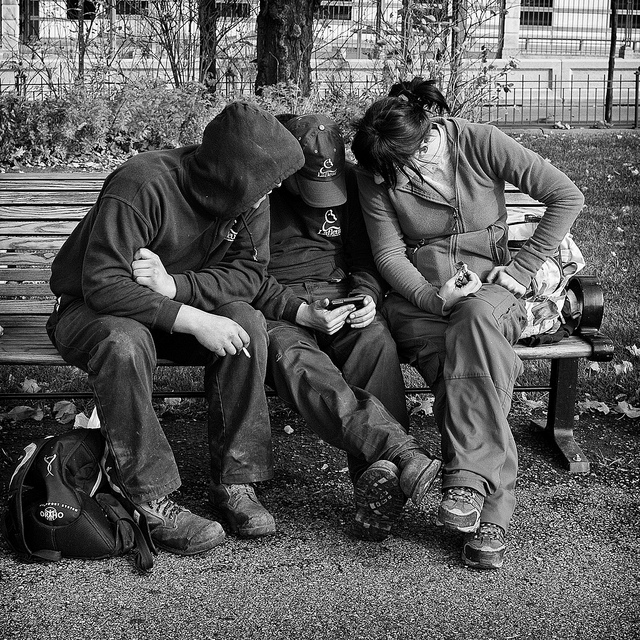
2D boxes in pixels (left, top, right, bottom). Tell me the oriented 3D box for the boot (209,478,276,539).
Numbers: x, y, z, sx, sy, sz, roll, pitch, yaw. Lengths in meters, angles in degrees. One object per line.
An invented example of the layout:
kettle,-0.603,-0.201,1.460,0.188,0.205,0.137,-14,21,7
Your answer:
boot,-0.280,0.626,2.311,0.104,0.147,0.315,-5,10,-32

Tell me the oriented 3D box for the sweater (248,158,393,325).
sweater,-0.052,-0.373,2.774,0.476,0.557,0.700,-5,16,-16

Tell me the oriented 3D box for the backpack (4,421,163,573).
backpack,-0.771,0.593,2.179,0.452,0.398,0.233,9,-18,-8

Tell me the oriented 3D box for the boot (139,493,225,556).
boot,-0.487,0.647,2.173,0.384,0.183,0.129,-1,8,37

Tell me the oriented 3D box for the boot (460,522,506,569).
boot,0.508,0.707,2.086,0.132,0.134,0.100,4,12,13

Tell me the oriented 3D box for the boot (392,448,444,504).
boot,0.300,0.454,2.070,0.141,0.145,0.277,2,17,5

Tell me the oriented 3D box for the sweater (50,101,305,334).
sweater,-0.432,-0.366,2.261,0.713,0.728,0.377,-3,12,-16

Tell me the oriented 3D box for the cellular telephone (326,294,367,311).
cellular telephone,0.108,-0.072,2.538,0.186,0.049,0.066,-8,15,-35

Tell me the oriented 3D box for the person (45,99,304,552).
person,-0.462,-0.003,2.236,0.795,1.419,0.600,-4,12,-24

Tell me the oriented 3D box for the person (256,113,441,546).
person,0.008,-0.070,2.463,0.508,0.874,1.548,-14,43,-10

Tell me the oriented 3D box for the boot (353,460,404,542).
boot,0.184,0.571,2.110,0.159,0.274,0.093,4,12,15
